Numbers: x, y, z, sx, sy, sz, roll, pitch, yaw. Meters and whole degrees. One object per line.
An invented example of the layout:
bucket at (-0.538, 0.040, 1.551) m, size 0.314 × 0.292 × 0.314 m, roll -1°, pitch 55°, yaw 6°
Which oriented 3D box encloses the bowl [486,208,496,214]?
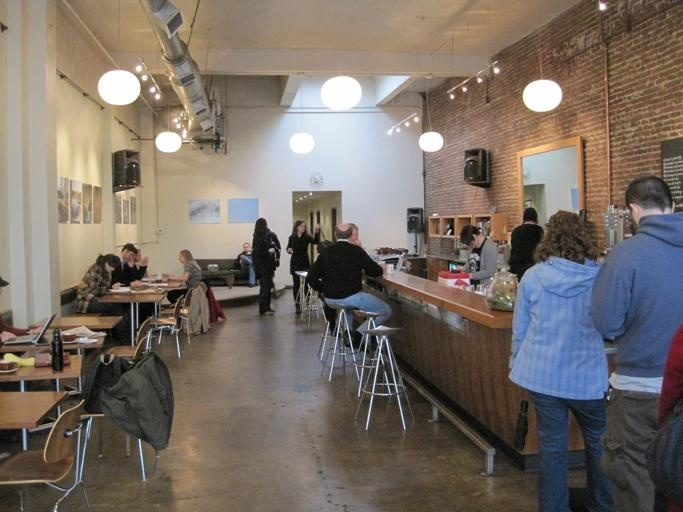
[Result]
bowl at (2.995, -0.889, 10.679) m, size 0.113 × 0.117 × 0.109 m, roll -2°, pitch 1°, yaw 0°

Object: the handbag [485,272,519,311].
handbag at (1.317, 0.267, 4.403) m, size 0.316 × 0.366 × 0.277 m, roll 2°, pitch 6°, yaw 32°

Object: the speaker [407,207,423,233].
speaker at (1.932, -0.958, 14.235) m, size 0.416 × 0.619 × 0.281 m, roll 0°, pitch 6°, yaw 17°

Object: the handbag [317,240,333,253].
handbag at (-0.380, -0.216, 10.741) m, size 0.293 × 0.170 × 0.383 m, roll 0°, pitch 5°, yaw 6°

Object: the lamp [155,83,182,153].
lamp at (-3.572, -2.560, 11.098) m, size 0.493 × 1.021 × 0.516 m, roll -1°, pitch -7°, yaw 22°

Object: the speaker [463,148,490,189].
speaker at (2.761, -1.828, 10.987) m, size 0.365 × 0.727 × 0.494 m, roll -2°, pitch 5°, yaw -31°

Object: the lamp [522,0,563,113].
lamp at (3.170, -2.933, 8.357) m, size 0.573 × 1.585 × 2.216 m, roll 1°, pitch 6°, yaw 19°

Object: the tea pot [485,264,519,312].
tea pot at (1.313, 0.259, 4.410) m, size 0.273 × 0.363 × 0.328 m, roll -7°, pitch 11°, yaw -34°

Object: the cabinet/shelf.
cabinet/shelf at (2.433, -0.167, 11.147) m, size 0.642 × 1.389 × 2.087 m, roll -10°, pitch 8°, yaw -24°

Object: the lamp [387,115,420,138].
lamp at (1.681, -3.516, 14.420) m, size 0.906 × 0.508 × 0.316 m, roll -1°, pitch 6°, yaw 5°

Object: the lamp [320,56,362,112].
lamp at (-0.016, -2.247, 7.340) m, size 0.493 × 0.426 × 0.254 m, roll -2°, pitch 6°, yaw -9°
